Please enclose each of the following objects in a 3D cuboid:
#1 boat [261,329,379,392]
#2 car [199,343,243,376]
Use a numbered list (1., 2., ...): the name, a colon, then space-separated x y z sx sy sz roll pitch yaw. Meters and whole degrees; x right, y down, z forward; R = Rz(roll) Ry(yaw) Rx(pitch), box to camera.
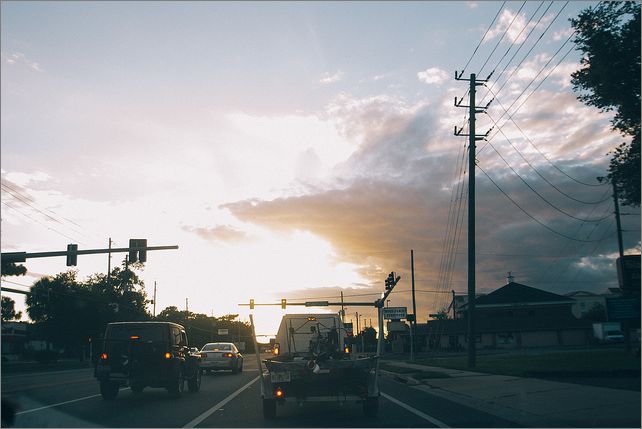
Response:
1. boat: 0.086 5.972 24.812 4.139 2.617 2.458 0 -15 0
2. car: -6.374 9.087 39.278 2.297 1.849 1.228 3 -16 -13
